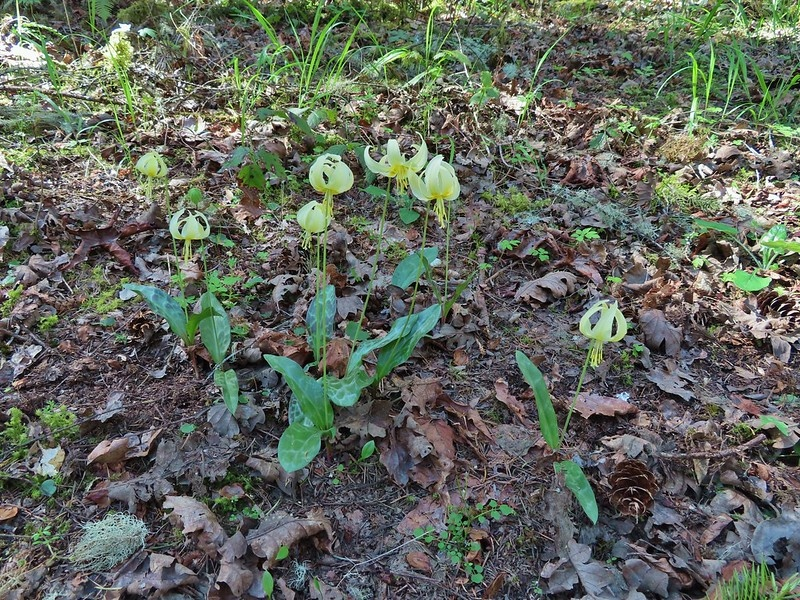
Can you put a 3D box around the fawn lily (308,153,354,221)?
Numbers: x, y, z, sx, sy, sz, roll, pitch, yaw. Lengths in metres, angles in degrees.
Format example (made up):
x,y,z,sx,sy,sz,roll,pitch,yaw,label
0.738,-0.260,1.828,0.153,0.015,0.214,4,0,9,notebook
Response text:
x,y,z,sx,sy,sz,roll,pitch,yaw,label
-0.393,-0.642,3.347,0.214,0.204,0.303,10,78,-25,fawn lily

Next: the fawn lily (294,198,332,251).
x,y,z,sx,sy,sz,roll,pitch,yaw,label
-0.501,-0.441,3.425,0.166,0.175,0.282,22,78,-36,fawn lily

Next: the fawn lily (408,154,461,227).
x,y,z,sx,sy,sz,roll,pitch,yaw,label
0.205,-0.599,3.441,0.241,0.262,0.377,-11,84,10,fawn lily

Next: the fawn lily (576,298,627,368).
x,y,z,sx,sy,sz,roll,pitch,yaw,label
1.098,0.178,3.335,0.229,0.210,0.376,0,100,-27,fawn lily

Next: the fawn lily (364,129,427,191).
x,y,z,sx,sy,sz,roll,pitch,yaw,label
-0.007,-0.780,3.492,0.357,0.383,0.331,-4,93,10,fawn lily

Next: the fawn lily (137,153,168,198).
x,y,z,sx,sy,sz,roll,pitch,yaw,label
-1.584,-0.773,3.869,0.154,0.187,0.339,11,87,-34,fawn lily

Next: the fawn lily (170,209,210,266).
x,y,z,sx,sy,sz,roll,pitch,yaw,label
-1.297,-0.372,3.705,0.209,0.211,0.314,-9,72,19,fawn lily
